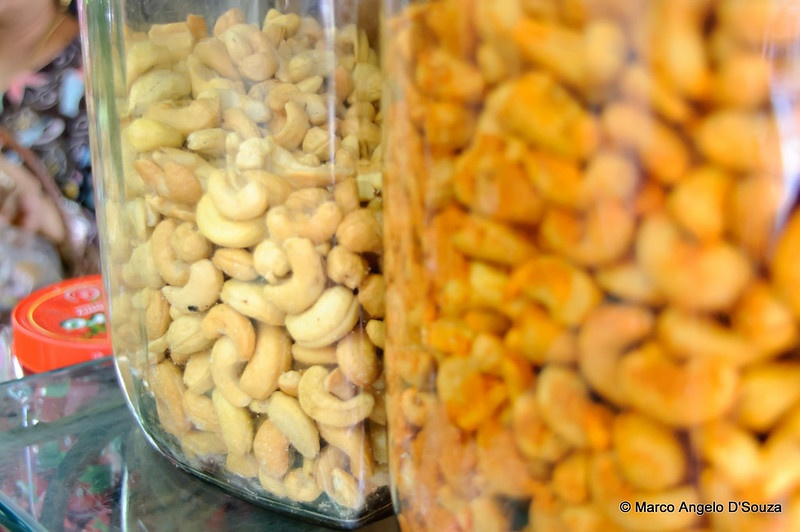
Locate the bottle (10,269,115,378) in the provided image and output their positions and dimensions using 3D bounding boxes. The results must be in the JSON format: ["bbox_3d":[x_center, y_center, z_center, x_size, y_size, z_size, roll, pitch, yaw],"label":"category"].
[{"bbox_3d":[-0.414,0.079,0.981,0.131,0.047,0.146,5,26,-30],"label":"bottle"}]
